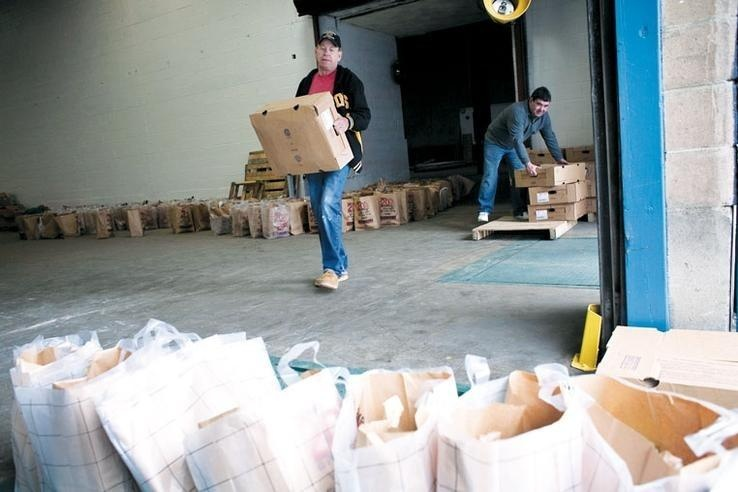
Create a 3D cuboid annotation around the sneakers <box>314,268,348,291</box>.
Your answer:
[{"bbox_3d":[-0.302,0.282,4.038,0.122,0.121,0.315,0,-2,19],"label":"sneakers"}]

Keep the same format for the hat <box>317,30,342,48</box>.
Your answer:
[{"bbox_3d":[-0.295,-1.624,3.823,0.133,0.150,0.236,-4,11,8],"label":"hat"}]

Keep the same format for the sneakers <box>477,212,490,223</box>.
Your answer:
[{"bbox_3d":[1.486,-0.374,6.256,0.170,0.173,0.164,-2,-2,-2],"label":"sneakers"}]

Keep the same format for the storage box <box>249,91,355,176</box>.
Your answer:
[{"bbox_3d":[-0.499,-0.879,3.801,0.665,0.553,0.376,-1,31,29],"label":"storage box"}]
